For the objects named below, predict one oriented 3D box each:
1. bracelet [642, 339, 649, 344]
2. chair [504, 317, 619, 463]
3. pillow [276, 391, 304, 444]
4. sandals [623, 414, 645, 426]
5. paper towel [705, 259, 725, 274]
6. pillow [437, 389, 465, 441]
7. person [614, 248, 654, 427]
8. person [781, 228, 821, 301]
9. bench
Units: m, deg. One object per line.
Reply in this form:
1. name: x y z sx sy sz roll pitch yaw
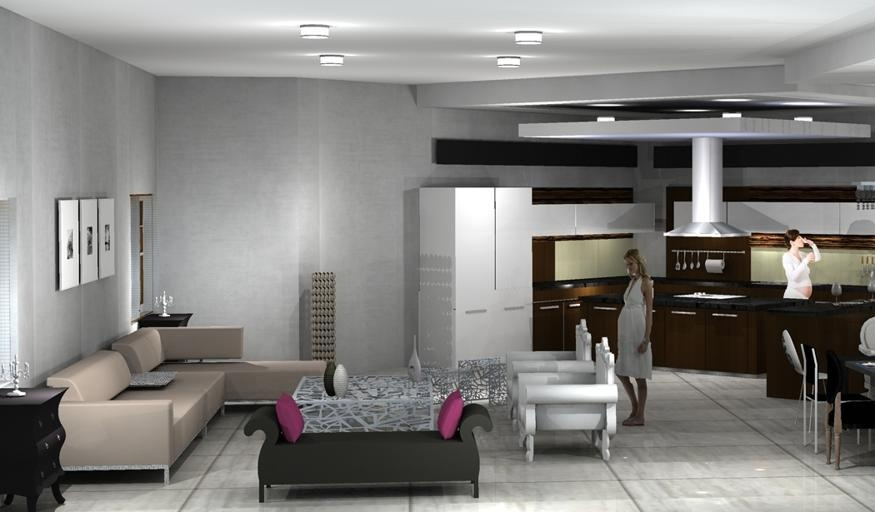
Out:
1. bracelet: 3.025 1.244 8.666 0.085 0.054 0.079 0 -1 -40
2. chair: 1.724 1.808 8.181 1.260 1.621 1.511 0 8 0
3. pillow: -1.707 1.882 6.991 0.335 0.423 0.620 5 3 -7
4. sandals: 2.939 2.472 8.993 0.349 0.210 0.139 2 -2 2
5. paper towel: 6.194 0.244 13.459 0.495 0.372 0.314 -3 -2 34
6. pillow: 0.181 1.857 7.081 0.301 0.473 0.629 0 -1 0
7. person: 2.928 1.230 8.879 0.498 2.609 0.495 2 9 15
8. person: 7.414 0.165 12.246 0.675 1.454 2.387 5 10 32
9. bench: -0.741 2.337 7.140 2.692 0.878 0.878 -1 -9 1
